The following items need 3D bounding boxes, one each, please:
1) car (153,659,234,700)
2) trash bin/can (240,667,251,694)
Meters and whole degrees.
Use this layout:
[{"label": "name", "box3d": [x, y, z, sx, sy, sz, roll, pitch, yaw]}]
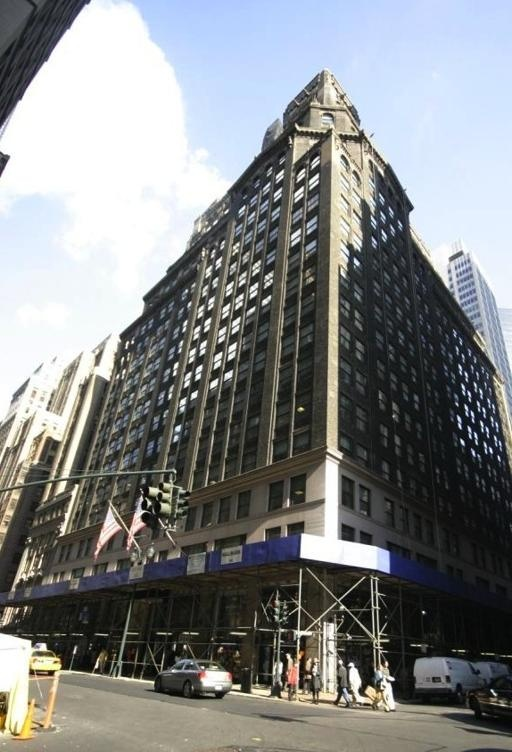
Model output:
[{"label": "car", "box3d": [-2.564, 11.780, 19.134, 1.420, 1.270, 4.419, 22, -34, -23]}, {"label": "trash bin/can", "box3d": [-0.444, 13.805, 22.254, 0.370, 0.945, 1.252, 8, -30, -2]}]
